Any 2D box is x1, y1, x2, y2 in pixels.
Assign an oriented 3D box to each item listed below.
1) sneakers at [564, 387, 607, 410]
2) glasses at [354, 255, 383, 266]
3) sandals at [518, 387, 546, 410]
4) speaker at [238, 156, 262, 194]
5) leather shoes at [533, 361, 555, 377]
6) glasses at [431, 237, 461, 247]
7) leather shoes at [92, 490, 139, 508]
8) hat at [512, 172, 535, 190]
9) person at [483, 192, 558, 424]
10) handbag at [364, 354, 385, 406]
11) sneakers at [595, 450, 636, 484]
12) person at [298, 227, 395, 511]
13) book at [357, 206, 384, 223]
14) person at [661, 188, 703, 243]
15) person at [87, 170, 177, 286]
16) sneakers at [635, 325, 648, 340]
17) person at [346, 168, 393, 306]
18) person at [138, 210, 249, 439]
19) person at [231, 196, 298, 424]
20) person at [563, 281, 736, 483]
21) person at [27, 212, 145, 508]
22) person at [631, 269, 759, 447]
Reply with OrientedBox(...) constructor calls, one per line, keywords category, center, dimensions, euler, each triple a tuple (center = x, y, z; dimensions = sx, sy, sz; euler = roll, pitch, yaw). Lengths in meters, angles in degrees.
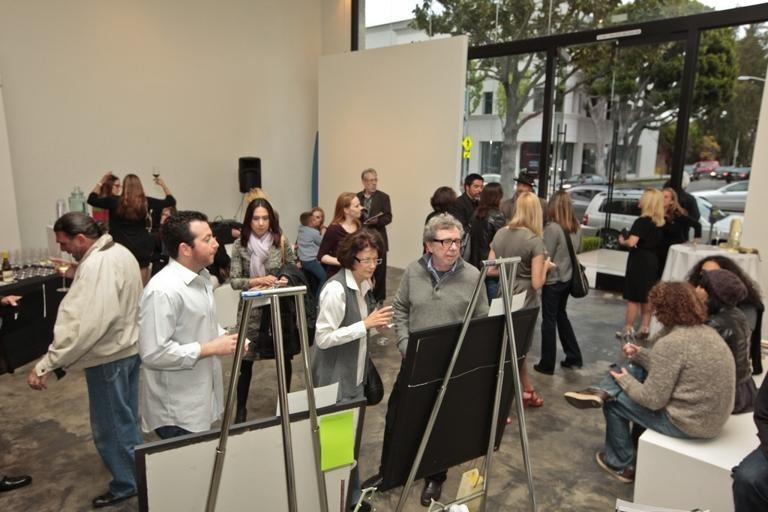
OrientedBox(category="sneakers", center=(1.610, 1.162, 4.206), dimensions=(0.358, 0.158, 0.157), euler=(-5, 19, 14))
OrientedBox(category="glasses", center=(-0.078, 0.021, 3.646), dimensions=(0.225, 0.083, 0.092), euler=(-11, 13, -43))
OrientedBox(category="sandals", center=(1.438, 1.391, 5.086), dimensions=(0.310, 0.227, 0.192), euler=(-3, 6, -25))
OrientedBox(category="speaker", center=(-2.528, -1.555, 9.946), dimensions=(0.408, 0.629, 0.416), euler=(-8, 25, -33))
OrientedBox(category="leather shoes", center=(1.730, 1.223, 5.692), dimensions=(0.089, 0.139, 0.195), euler=(-11, 20, -35))
OrientedBox(category="glasses", center=(0.457, -0.103, 3.773), dimensions=(0.202, 0.059, 0.079), euler=(-3, 10, -4))
OrientedBox(category="leather shoes", center=(-2.035, 1.846, 4.069), dimensions=(0.364, 0.141, 0.132), euler=(8, -3, -30))
OrientedBox(category="hat", center=(1.777, -0.948, 6.601), dimensions=(0.177, 0.198, 0.409), euler=(0, 10, 11))
OrientedBox(category="person", center=(1.301, 0.436, 5.030), dimensions=(0.603, 2.079, 0.687), euler=(1, 10, 18))
OrientedBox(category="handbag", center=(-0.083, 0.919, 3.877), dimensions=(0.155, 0.365, 0.130), euler=(-10, -3, 30))
OrientedBox(category="sneakers", center=(1.924, 1.771, 4.368), dimensions=(0.113, 0.128, 0.285), euler=(-10, 23, -27))
OrientedBox(category="person", center=(-0.206, 0.827, 3.639), dimensions=(0.564, 1.992, 0.951), euler=(-3, 10, -7))
OrientedBox(category="book", center=(-0.162, -0.521, 7.022), dimensions=(0.293, 0.116, 0.228), euler=(-8, -34, -14))
OrientedBox(category="person", center=(4.000, -0.577, 7.048), dimensions=(0.429, 0.703, 1.400), euler=(4, 11, 30))
OrientedBox(category="person", center=(-3.227, -0.033, 6.826), dimensions=(0.922, 2.037, 0.658), euler=(1, 10, -21))
OrientedBox(category="sneakers", center=(3.203, 0.954, 6.467), dimensions=(0.089, 0.116, 0.278), euler=(-3, 4, 3))
OrientedBox(category="person", center=(-0.176, -0.289, 7.332), dimensions=(0.540, 1.782, 0.541), euler=(9, 19, 25))
OrientedBox(category="person", center=(-1.330, 0.493, 3.515), dimensions=(0.603, 1.568, 0.583), euler=(-7, 11, -29))
OrientedBox(category="person", center=(-1.088, 0.561, 4.878), dimensions=(0.706, 2.176, 0.646), euler=(0, 12, -9))
OrientedBox(category="person", center=(2.143, 1.067, 4.263), dimensions=(1.166, 1.640, 0.782), euler=(2, -2, 36))
OrientedBox(category="person", center=(-2.105, 0.798, 3.894), dimensions=(0.681, 2.224, 0.452), euler=(-7, 11, -28))
OrientedBox(category="person", center=(2.555, 0.768, 4.634), dimensions=(0.991, 1.490, 1.046), euler=(10, 17, 26))
